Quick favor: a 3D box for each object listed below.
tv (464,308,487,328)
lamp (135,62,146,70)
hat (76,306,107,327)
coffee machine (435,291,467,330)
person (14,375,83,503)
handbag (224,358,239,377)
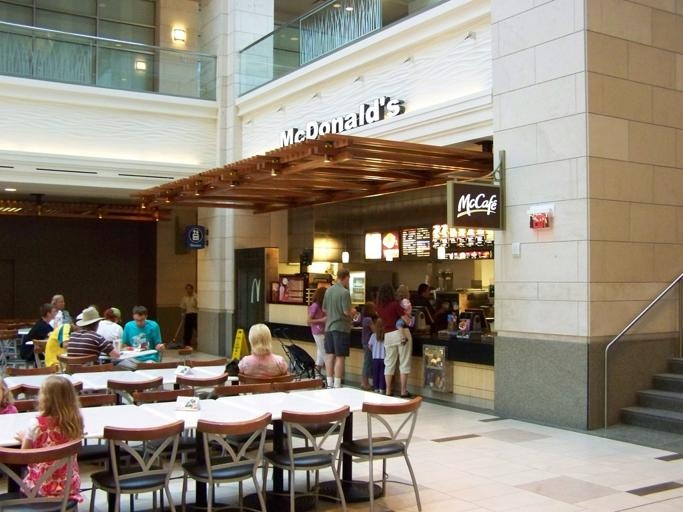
[{"bbox_3d":[2.370,1.095,10.186,0.342,0.332,0.315,5,-9,-32],"label":"tv"},{"bbox_3d":[-4.906,-4.653,14.375,0.223,0.214,0.053,2,-2,-23],"label":"lamp"},{"bbox_3d":[-3.586,0.856,8.282,0.286,0.128,0.318,-19,9,-42],"label":"hat"},{"bbox_3d":[2.132,1.082,11.422,0.597,1.030,0.528,0,-9,-3],"label":"coffee machine"},{"bbox_3d":[-2.176,1.396,4.417,0.446,0.950,0.494,0,2,-25],"label":"person"},{"bbox_3d":[-1.379,1.404,7.408,0.233,0.225,0.178,2,-1,41],"label":"handbag"}]
